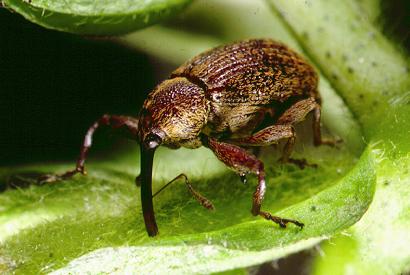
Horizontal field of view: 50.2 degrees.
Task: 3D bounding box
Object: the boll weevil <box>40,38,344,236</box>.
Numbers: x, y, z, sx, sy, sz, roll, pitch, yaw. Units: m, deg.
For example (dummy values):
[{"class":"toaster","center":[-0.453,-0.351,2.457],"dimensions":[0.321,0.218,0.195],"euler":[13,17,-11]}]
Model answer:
[{"class":"boll weevil","center":[0.008,-0.073,0.757],"dimensions":[0.319,0.206,0.432],"euler":[22,40,40]}]
